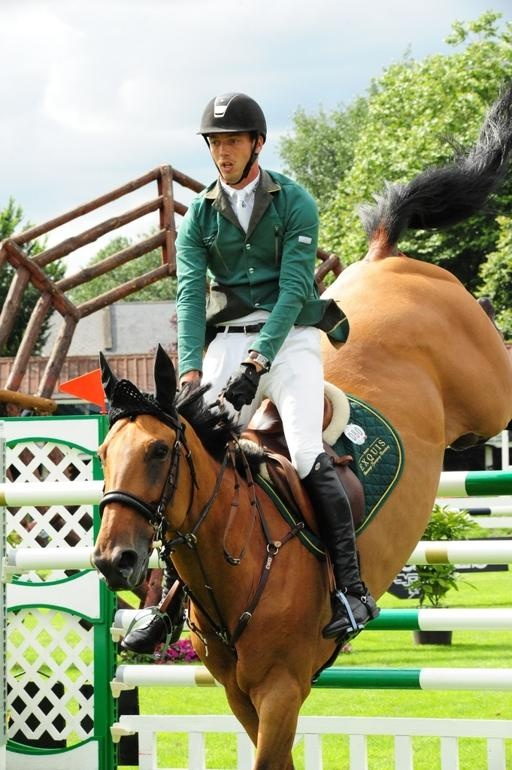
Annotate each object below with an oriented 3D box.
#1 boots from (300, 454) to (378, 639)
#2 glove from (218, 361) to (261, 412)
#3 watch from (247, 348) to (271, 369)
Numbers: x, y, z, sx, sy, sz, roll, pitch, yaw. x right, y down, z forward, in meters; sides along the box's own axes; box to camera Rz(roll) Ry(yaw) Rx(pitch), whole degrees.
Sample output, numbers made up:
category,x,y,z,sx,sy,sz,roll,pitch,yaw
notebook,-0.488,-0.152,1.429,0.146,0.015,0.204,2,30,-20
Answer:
category,x,y,z,sx,sy,sz,roll,pitch,yaw
boots,0.278,0.534,3.054,0.234,0.573,0.357,-2,3,2
glove,-0.041,0.004,2.986,0.178,0.104,0.067,-35,-6,-32
watch,0.013,-0.090,3.081,0.036,0.057,0.072,-48,-19,9
